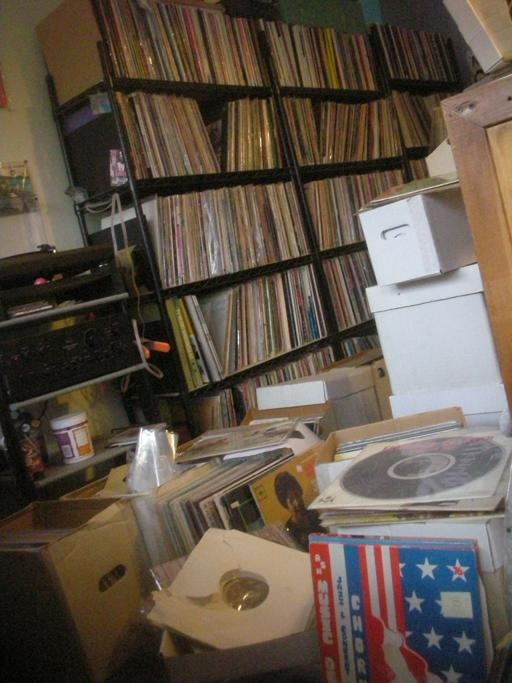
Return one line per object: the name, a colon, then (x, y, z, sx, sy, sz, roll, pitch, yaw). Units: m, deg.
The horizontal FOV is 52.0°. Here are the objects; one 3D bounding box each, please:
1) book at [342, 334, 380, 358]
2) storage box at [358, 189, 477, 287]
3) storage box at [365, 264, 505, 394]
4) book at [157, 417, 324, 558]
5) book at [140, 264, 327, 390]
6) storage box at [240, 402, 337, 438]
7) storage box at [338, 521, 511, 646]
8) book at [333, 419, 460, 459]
book: (0.549, 0.026, 2.790, 0.113, 0.101, 0.039, -17, 19, -28)
storage box: (0.374, -0.241, 1.230, 0.236, 0.197, 0.189, -13, 3, 21)
storage box: (0.426, -0.021, 1.348, 0.306, 0.280, 0.296, -18, -9, 9)
book: (-0.025, 0.329, 1.207, 0.242, 0.107, 0.339, -7, 13, 42)
book: (-0.127, -0.060, 2.297, 0.568, 0.281, 0.122, -23, 3, -34)
storage box: (0.119, 0.214, 1.628, 0.216, 0.109, 0.146, 0, 4, 18)
storage box: (0.221, 0.299, 0.709, 0.227, 0.134, 0.066, -11, 5, 41)
book: (0.269, 0.184, 0.985, 0.186, 0.036, 0.047, -12, 19, 5)
